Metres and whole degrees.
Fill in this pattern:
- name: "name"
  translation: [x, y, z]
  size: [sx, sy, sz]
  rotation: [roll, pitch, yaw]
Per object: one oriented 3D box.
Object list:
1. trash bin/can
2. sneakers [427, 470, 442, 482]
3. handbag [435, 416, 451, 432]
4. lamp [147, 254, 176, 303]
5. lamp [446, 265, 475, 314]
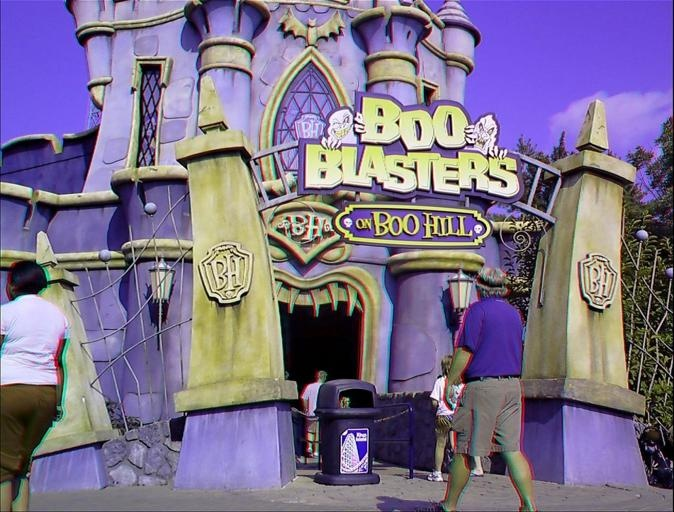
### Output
- name: "trash bin/can"
  translation: [0.071, 2.923, 13.016]
  size: [1.128, 2.239, 1.391]
  rotation: [3, -15, -10]
- name: "sneakers"
  translation: [1.620, 3.635, 13.196]
  size: [0.112, 0.179, 0.326]
  rotation: [3, -6, -22]
- name: "handbag"
  translation: [1.741, 2.738, 13.021]
  size: [0.235, 0.295, 0.275]
  rotation: [-1, -15, 12]
- name: "lamp"
  translation: [-3.769, 0.481, 17.151]
  size: [0.507, 1.010, 0.570]
  rotation: [1, -5, -15]
- name: "lamp"
  translation: [2.709, 0.789, 17.565]
  size: [0.512, 1.162, 0.583]
  rotation: [-3, -5, 29]
